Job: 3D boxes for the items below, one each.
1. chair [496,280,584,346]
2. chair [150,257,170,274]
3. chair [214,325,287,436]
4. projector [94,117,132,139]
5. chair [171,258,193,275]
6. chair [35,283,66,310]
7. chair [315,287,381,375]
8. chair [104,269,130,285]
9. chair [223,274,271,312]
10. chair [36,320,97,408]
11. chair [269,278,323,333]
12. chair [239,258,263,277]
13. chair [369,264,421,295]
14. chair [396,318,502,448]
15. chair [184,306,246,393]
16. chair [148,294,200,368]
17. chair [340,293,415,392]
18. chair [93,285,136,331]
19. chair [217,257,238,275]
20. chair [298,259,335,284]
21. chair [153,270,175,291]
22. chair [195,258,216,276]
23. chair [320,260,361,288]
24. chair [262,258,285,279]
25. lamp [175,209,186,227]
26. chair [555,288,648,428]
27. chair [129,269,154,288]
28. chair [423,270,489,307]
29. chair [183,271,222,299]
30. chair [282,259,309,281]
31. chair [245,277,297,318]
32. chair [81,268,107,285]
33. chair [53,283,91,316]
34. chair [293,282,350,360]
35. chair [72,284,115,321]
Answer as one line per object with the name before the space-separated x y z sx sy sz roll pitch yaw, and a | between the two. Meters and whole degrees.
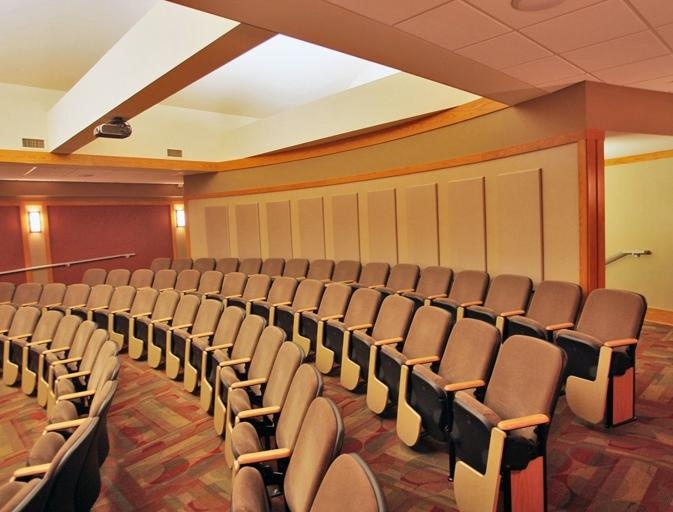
chair | 1.704 0.572 4.102 0.638 0.678 0.593 1 7 -8
chair | -2.970 0.160 8.269 0.280 0.372 0.318 1 -3 3
chair | -0.697 0.848 3.590 0.427 0.683 0.480 -20 31 -32
projector | -2.397 -1.351 5.239 0.273 0.121 0.267 -7 13 -38
chair | -2.533 0.171 7.943 0.252 0.321 0.274 1 -6 -2
chair | -3.776 0.533 6.553 0.320 0.422 0.372 2 -3 -7
chair | 0.106 0.649 4.295 0.463 0.711 0.532 -2 6 -45
chair | -3.346 0.338 7.499 0.278 0.349 0.295 2 -5 -5
chair | -1.020 0.433 5.756 0.433 0.576 0.385 -2 -6 42
chair | -2.517 0.894 4.343 0.488 0.662 0.473 -11 23 -34
chair | -0.409 0.558 5.075 0.533 0.626 0.532 4 2 -18
chair | -1.325 0.175 7.438 0.271 0.321 0.283 0 -4 11
chair | 0.678 0.267 5.556 0.346 0.441 0.406 -2 -5 41
chair | 0.713 0.854 3.247 0.545 0.781 0.600 -3 8 -45
chair | -1.046 0.805 4.177 0.437 0.641 0.444 -5 10 -30
chair | -1.619 0.742 4.867 0.386 0.640 0.397 11 10 41
chair | 0.332 0.705 3.932 0.462 0.714 0.509 -6 13 -37
chair | -2.614 0.684 5.686 0.504 0.655 0.487 2 -4 -40
chair | -1.719 0.155 7.739 0.255 0.326 0.291 0 -4 9
chair | -0.260 0.214 6.644 0.307 0.379 0.325 0 -4 27
chair | -2.523 0.365 7.210 0.297 0.366 0.311 1 -2 9
chair | -2.117 0.176 7.840 0.251 0.308 0.288 0 -7 0
chair | 0.054 0.225 6.319 0.319 0.396 0.340 -2 -5 32
chair | -0.946 0.179 7.179 0.276 0.337 0.296 0 -6 20
lamp | -3.639 -0.889 11.362 0.184 0.416 0.227 -1 3 -28
chair | 1.932 0.740 3.581 0.569 0.957 0.465 -2 4 -44
chair | -2.964 0.372 7.591 0.329 0.412 0.350 1 -6 -1
chair | 1.159 0.316 4.900 0.479 0.512 0.380 2 -3 -37
chair | -1.789 0.393 6.571 0.372 0.501 0.449 -2 -7 27
chair | -0.597 0.198 6.938 0.298 0.351 0.310 -1 -6 24
chair | -0.700 0.451 5.388 0.450 0.624 0.414 -3 -11 42
chair | -3.811 0.323 7.732 0.280 0.371 0.317 2 1 -7
chair | -3.308 0.553 6.111 0.340 0.450 0.387 1 -3 16
chair | -0.130 0.608 4.616 0.468 0.665 0.487 0 7 -30
chair | -2.888 0.652 5.941 0.362 0.323 0.354 20 20 -4
